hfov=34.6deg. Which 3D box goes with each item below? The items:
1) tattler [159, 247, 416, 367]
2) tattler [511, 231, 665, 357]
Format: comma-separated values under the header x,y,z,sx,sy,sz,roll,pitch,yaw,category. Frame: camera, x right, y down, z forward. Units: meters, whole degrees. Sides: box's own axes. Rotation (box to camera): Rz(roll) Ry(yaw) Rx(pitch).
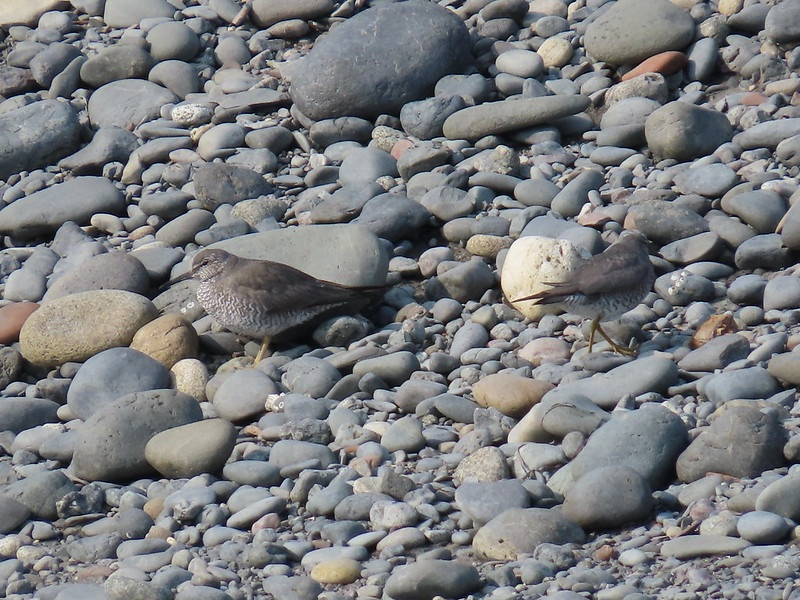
x,y,z,sx,sy,sz,roll,pitch,yaw,category
-0.864,-0.051,9.538,1.095,0.889,0.731,-28,35,-6,tattler
1.252,-0.064,8.954,1.111,0.716,0.514,0,-6,-19,tattler
